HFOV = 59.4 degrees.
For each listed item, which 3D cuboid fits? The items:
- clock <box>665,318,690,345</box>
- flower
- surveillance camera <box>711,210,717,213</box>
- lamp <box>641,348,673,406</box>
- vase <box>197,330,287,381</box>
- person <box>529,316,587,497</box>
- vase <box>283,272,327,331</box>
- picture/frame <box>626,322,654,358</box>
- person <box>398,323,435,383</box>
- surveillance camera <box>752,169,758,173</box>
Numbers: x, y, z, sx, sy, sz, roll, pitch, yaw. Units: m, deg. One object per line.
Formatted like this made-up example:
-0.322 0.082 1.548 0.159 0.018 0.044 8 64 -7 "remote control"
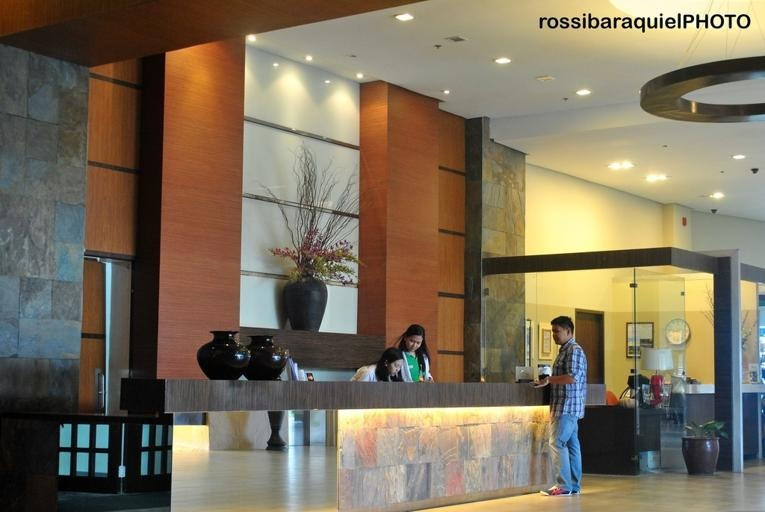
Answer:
4.661 1.197 10.590 0.432 0.425 0.100 4 -5 -19 "clock"
-0.936 -0.121 9.767 0.970 0.596 0.753 9 -16 4 "flower"
8.797 -1.201 17.804 0.108 0.083 0.119 0 -4 9 "surveillance camera"
4.214 1.845 10.294 0.643 0.884 0.166 8 -11 -36 "lamp"
-1.111 0.853 5.578 0.367 0.353 0.741 -14 -20 43 "vase"
2.128 1.769 7.985 0.568 2.077 0.604 -1 -9 17 "person"
-1.070 0.674 9.368 0.699 0.857 0.690 -6 -9 24 "vase"
3.945 1.280 10.289 0.464 0.534 0.124 4 -9 -19 "picture/frame"
0.341 1.075 7.468 0.333 0.600 0.821 -1 -10 13 "person"
7.753 -1.785 13.968 0.097 0.035 0.093 7 -13 -28 "surveillance camera"
